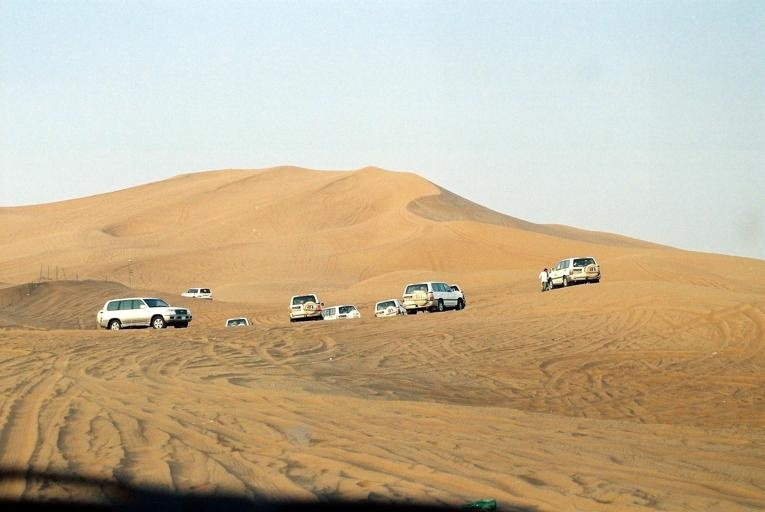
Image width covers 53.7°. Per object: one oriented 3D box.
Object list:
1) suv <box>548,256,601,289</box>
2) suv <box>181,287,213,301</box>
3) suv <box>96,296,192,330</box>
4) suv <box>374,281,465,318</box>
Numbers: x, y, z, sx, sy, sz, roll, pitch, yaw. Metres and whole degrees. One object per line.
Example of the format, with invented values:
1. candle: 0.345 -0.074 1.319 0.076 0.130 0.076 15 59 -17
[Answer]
1. suv: 9.050 0.880 35.718 1.769 0.915 2.631 1 -8 -16
2. suv: -11.891 2.420 48.667 2.420 0.643 1.336 4 2 38
3. suv: -9.188 2.229 29.324 3.535 0.794 1.335 -2 -1 9
4. suv: 1.840 1.820 32.306 1.974 0.796 3.389 0 5 35
